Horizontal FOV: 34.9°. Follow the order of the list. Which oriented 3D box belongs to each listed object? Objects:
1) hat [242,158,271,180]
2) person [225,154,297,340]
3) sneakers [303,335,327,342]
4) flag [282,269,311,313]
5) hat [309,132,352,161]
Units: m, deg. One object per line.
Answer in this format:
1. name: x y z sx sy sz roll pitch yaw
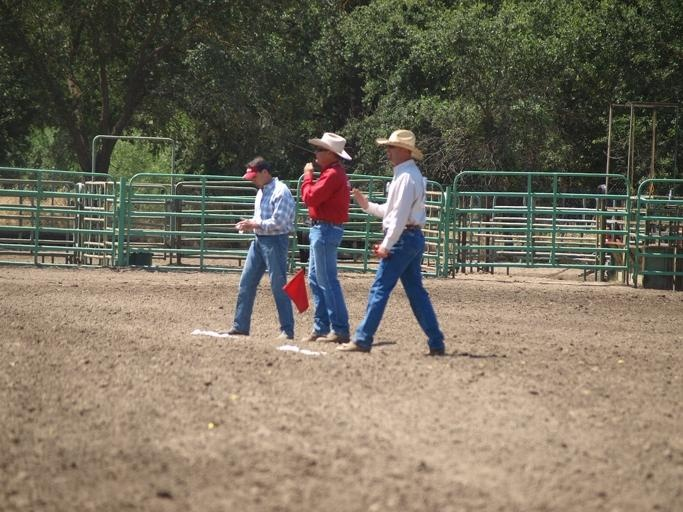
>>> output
1. hat: -1.382 -1.380 17.542 0.383 0.284 0.299 -15 10 -17
2. person: -1.224 -0.093 17.516 1.026 2.874 0.748 3 2 4
3. sneakers: -0.443 1.336 17.231 0.145 0.081 0.228 -6 -2 38
4. flag: -0.749 0.644 17.922 0.498 0.624 0.338 -38 21 -33
5. hat: -0.180 -1.714 16.982 0.559 0.245 0.510 28 0 -13
